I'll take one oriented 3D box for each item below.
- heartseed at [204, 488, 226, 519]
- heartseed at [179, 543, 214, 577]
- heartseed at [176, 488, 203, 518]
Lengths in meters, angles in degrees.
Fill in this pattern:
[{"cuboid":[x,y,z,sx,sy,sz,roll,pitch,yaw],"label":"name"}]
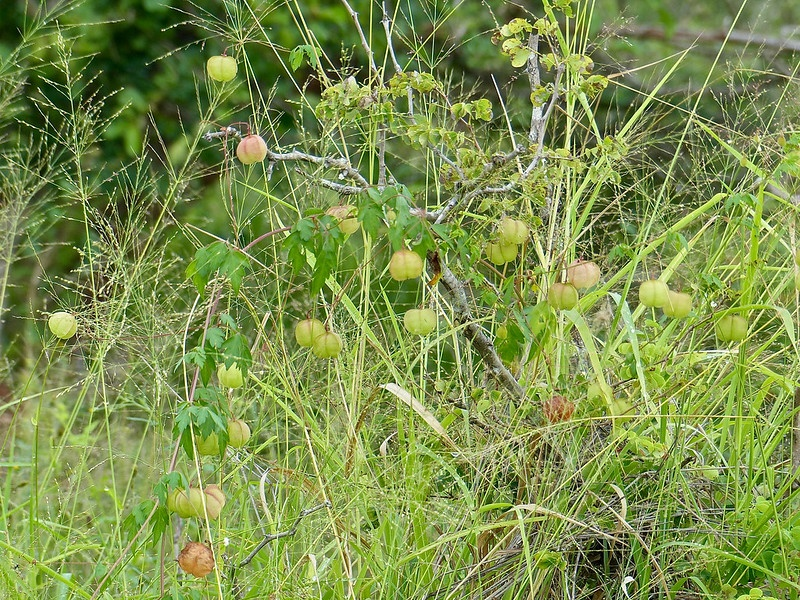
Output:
[{"cuboid":[-0.310,0.348,1.600,0.029,0.053,0.044,0,5,4],"label":"heartseed"},{"cuboid":[-0.344,0.443,1.584,0.040,0.054,0.065,18,22,-3],"label":"heartseed"},{"cuboid":[-0.347,0.339,1.547,0.038,0.068,0.041,-11,-16,30],"label":"heartseed"}]
